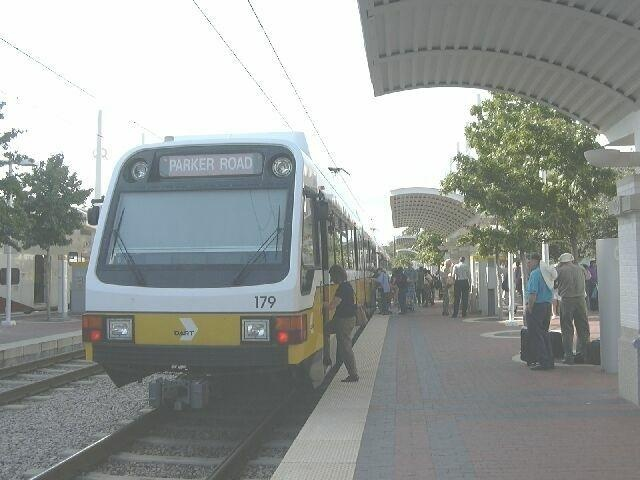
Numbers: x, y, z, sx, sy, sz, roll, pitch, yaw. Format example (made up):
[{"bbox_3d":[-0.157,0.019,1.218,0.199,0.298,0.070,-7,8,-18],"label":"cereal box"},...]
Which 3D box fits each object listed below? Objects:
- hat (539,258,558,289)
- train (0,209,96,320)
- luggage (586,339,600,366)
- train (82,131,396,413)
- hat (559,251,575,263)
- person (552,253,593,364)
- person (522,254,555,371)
[{"bbox_3d":[4.124,0.617,10.218,0.124,0.504,0.417,-15,-14,36],"label":"hat"},{"bbox_3d":[-10.923,1.005,22.085,2.147,4.901,4.443,0,0,26],"label":"train"},{"bbox_3d":[5.070,2.071,10.492,0.203,0.458,0.333,-4,-6,20],"label":"luggage"},{"bbox_3d":[-1.470,0.175,7.768,3.217,3.789,1.691,-2,-6,0],"label":"train"},{"bbox_3d":[4.721,0.334,10.866,0.210,0.180,0.338,-4,-5,13],"label":"hat"},{"bbox_3d":[4.752,1.385,10.661,0.585,1.846,0.445,-2,-6,5],"label":"person"},{"bbox_3d":[3.969,1.365,10.264,0.469,1.915,0.490,-3,-6,17],"label":"person"}]
